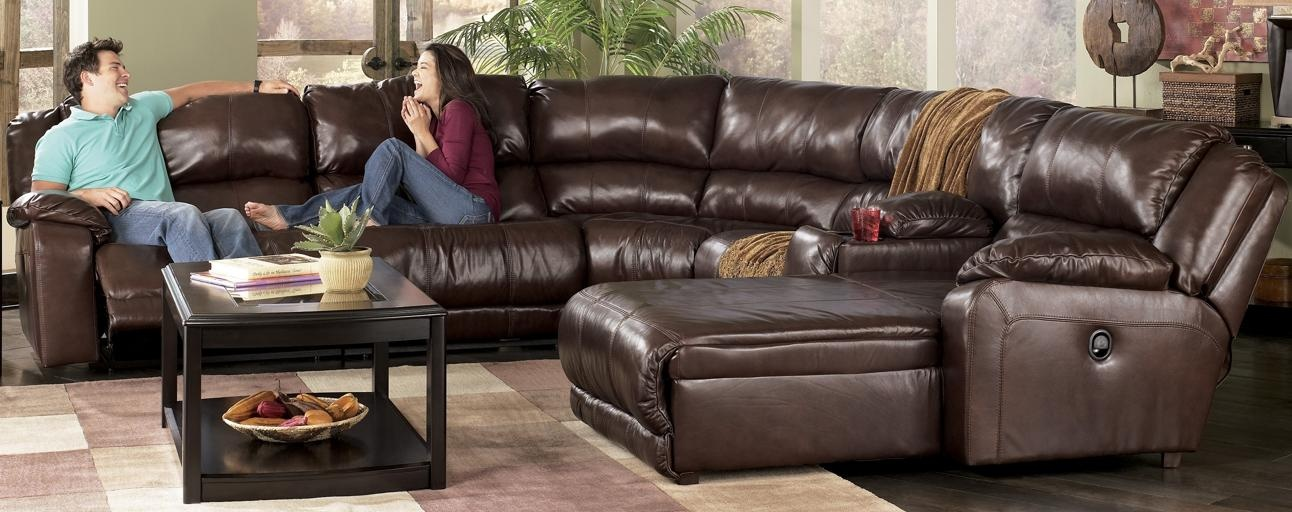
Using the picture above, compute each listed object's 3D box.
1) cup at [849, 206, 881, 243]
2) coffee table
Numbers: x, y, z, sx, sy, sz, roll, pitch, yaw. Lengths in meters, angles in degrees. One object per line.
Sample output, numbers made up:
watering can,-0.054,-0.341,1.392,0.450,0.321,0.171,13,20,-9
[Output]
cup,1.406,-0.197,5.696,0.310,0.215,0.239,0,3,9
coffee table,-2.087,0.649,5.442,1.869,0.891,1.598,-1,6,-20
